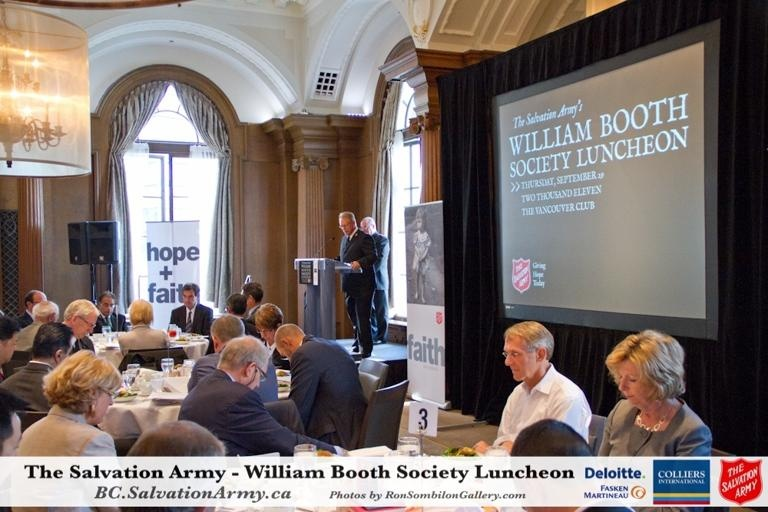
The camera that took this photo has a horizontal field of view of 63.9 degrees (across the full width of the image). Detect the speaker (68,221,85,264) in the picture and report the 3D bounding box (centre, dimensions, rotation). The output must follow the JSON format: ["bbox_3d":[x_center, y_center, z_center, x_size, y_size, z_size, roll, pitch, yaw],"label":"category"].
[{"bbox_3d":[-4.888,-0.213,9.817,0.391,0.614,0.166,0,0,29],"label":"speaker"}]

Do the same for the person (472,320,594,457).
[{"bbox_3d":[1.014,0.830,4.304,0.799,1.076,0.811,4,-6,-19],"label":"person"}]

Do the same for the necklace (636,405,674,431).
[{"bbox_3d":[1.459,0.891,3.340,0.030,0.110,0.132,-8,-1,-33],"label":"necklace"}]

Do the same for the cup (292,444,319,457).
[{"bbox_3d":[-0.399,0.964,3.090,0.073,0.071,0.074,1,-7,0],"label":"cup"}]

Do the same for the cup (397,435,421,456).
[{"bbox_3d":[0.133,1.009,3.229,0.103,0.117,0.118,1,4,1],"label":"cup"}]
